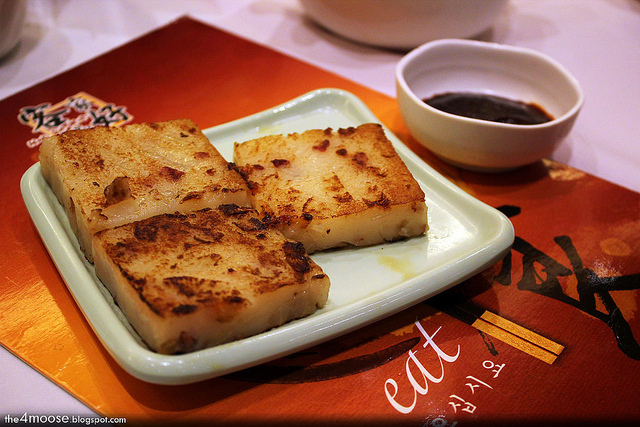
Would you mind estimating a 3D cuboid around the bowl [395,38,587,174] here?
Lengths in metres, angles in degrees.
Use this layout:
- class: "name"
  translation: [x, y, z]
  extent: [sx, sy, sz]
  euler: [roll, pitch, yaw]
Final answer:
- class: "bowl"
  translation: [0.728, -0.518, 2.334]
  extent: [0.776, 0.321, 0.646]
  euler: [24, 65, 15]
